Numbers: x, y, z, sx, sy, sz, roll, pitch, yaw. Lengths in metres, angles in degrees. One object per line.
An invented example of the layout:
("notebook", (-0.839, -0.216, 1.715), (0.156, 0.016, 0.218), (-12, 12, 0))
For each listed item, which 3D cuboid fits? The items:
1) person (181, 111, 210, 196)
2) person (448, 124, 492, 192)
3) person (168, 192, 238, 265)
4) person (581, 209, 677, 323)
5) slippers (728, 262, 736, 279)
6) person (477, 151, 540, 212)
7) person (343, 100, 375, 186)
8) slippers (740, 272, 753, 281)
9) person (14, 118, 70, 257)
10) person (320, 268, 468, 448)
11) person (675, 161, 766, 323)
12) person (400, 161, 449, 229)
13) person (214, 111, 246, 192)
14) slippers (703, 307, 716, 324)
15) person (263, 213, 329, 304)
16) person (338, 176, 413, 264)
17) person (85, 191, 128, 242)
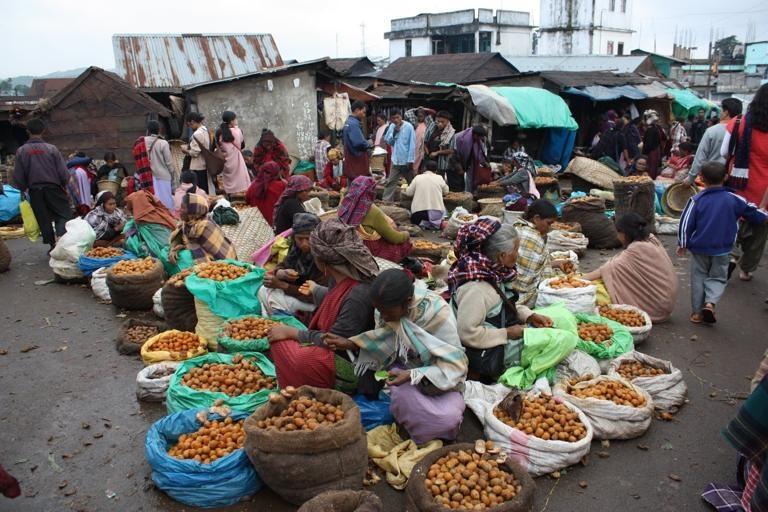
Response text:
("person", (-4.160, -2.320, 12.172), (0.597, 1.790, 0.540), (-9, 21, -20))
("person", (1.975, -2.262, 12.299), (0.916, 1.546, 0.791), (18, 36, 27))
("person", (-2.595, -0.266, 7.498), (0.965, 1.201, 0.888), (-2, 15, -5))
("person", (3.256, 0.120, 7.187), (1.066, 1.397, 1.142), (-17, 21, -17))
("slippers", (5.089, 0.191, 7.874), (0.096, 0.248, 0.073), (11, 1, -23))
("person", (2.568, -1.461, 10.643), (1.141, 1.161, 0.947), (1, 24, 9))
("person", (-0.554, -2.256, 11.654), (0.662, 2.180, 0.927), (0, 19, -6))
("slippers", (5.481, 0.292, 8.139), (0.148, 0.109, 0.053), (-13, 28, -19))
("person", (-6.103, -1.284, 9.695), (0.848, 2.294, 0.517), (-14, 23, -31))
("person", (0.234, 0.993, 5.291), (1.273, 1.829, 1.162), (9, 22, 37))
("person", (4.186, -0.201, 6.945), (0.738, 1.997, 0.584), (-18, 25, -38))
("person", (0.950, -1.274, 11.078), (1.001, 1.393, 0.953), (-3, 12, -37))
("person", (-3.460, -2.380, 12.344), (0.607, 1.892, 0.799), (-7, 21, -15))
("slippers", (4.156, 0.753, 6.871), (0.116, 0.305, 0.092), (6, 45, 32))
("person", (-0.977, 0.016, 6.240), (0.859, 1.131, 0.831), (-4, 31, -18))
("person", (-0.096, -0.626, 7.670), (1.003, 1.265, 0.957), (-9, 35, -12))
("person", (-4.798, -0.694, 9.300), (0.602, 0.812, 0.499), (-12, 22, -27))
